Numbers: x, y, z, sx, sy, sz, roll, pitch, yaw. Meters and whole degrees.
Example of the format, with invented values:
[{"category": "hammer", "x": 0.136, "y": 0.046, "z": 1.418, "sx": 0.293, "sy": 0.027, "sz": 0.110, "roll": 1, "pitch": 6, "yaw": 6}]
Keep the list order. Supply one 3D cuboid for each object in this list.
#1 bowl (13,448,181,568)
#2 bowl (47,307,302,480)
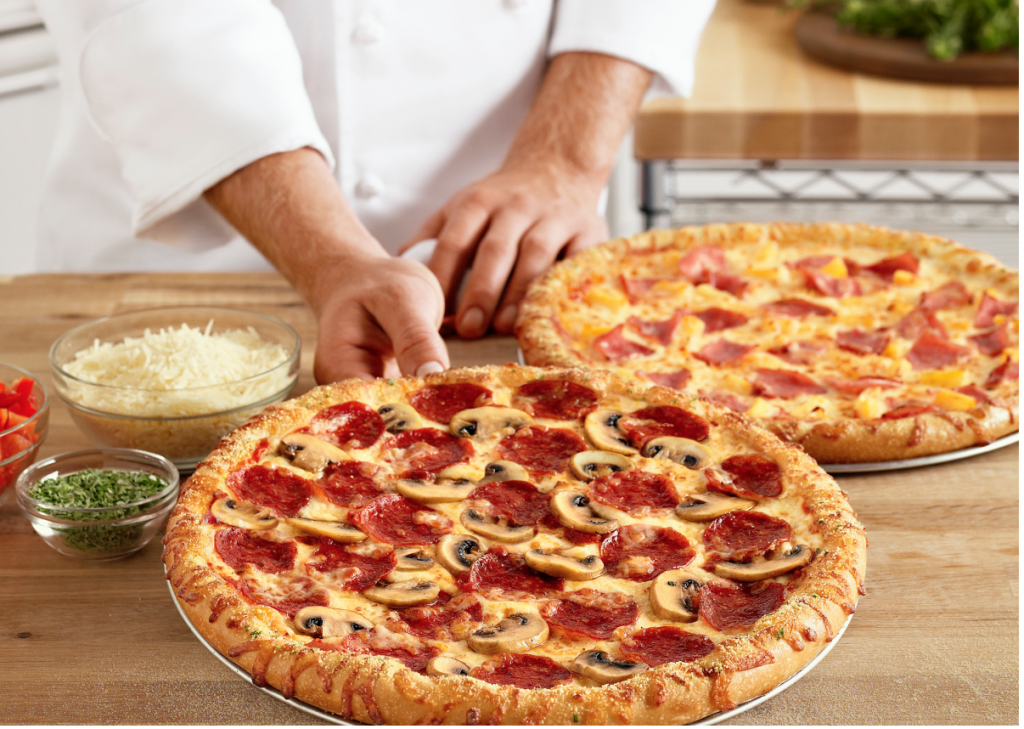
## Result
[{"category": "bowl", "x": -0.803, "y": 0.284, "z": 2.130, "sx": 0.296, "sy": 0.160, "sz": 0.340, "roll": 8, "pitch": 17, "yaw": 32}, {"category": "bowl", "x": -0.792, "y": 0.239, "z": 2.329, "sx": 0.385, "sy": 0.314, "sz": 0.152, "roll": -27, "pitch": 51, "yaw": -10}]
